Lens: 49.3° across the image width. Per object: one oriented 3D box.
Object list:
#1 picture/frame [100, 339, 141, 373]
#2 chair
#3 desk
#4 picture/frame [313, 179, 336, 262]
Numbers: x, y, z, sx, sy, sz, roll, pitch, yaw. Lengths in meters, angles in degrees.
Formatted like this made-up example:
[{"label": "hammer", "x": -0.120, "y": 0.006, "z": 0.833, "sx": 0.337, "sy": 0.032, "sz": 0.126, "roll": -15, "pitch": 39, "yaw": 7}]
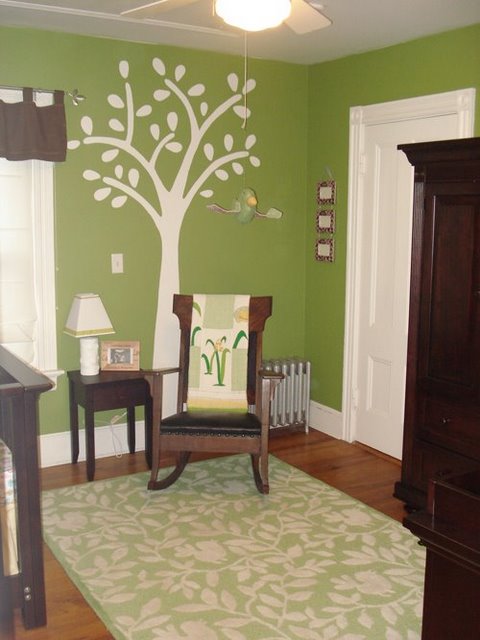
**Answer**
[{"label": "picture/frame", "x": -0.782, "y": 0.243, "z": 3.412, "sx": 0.201, "sy": 0.180, "sz": 0.015, "roll": 1, "pitch": -11, "yaw": -14}, {"label": "chair", "x": -0.150, "y": 0.402, "z": 2.993, "sx": 0.774, "sy": 1.099, "sz": 0.798, "roll": 2, "pitch": -1, "yaw": -19}, {"label": "desk", "x": -0.808, "y": 0.658, "z": 3.387, "sx": 0.491, "sy": 0.623, "sz": 0.469, "roll": 0, "pitch": 7, "yaw": -9}, {"label": "picture/frame", "x": 0.647, "y": -0.749, "z": 4.000, "sx": 0.070, "sy": 0.609, "sz": 0.235, "roll": -3, "pitch": 6, "yaw": -26}]
